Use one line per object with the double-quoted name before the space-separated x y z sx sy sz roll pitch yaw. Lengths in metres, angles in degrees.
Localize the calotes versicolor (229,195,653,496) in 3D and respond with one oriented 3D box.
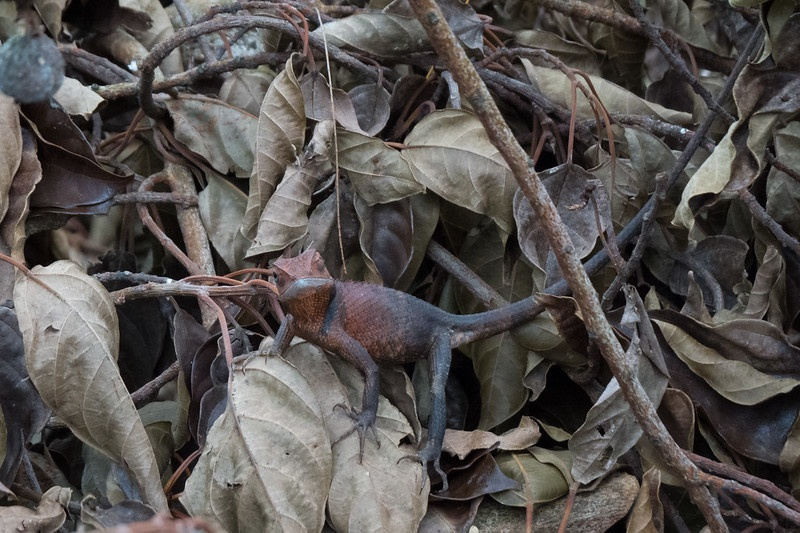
"calotes versicolor" 0.084 0.074 2.218 0.839 0.590 0.450 -3 20 -35
